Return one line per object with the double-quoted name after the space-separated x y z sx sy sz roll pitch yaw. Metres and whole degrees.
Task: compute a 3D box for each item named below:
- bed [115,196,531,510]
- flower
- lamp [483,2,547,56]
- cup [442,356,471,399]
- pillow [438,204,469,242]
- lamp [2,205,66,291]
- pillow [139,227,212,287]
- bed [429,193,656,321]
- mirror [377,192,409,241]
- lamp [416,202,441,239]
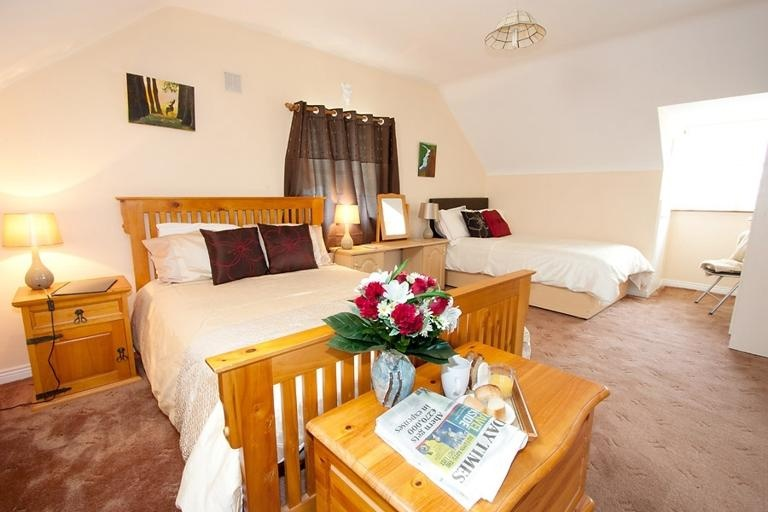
-0.704 -0.117 3.845 2.727 1.731 2.685 -10 12 -39 "bed"
0.065 0.279 2.861 0.623 0.482 0.624 0 11 -2 "flower"
1.166 -2.082 4.119 0.463 0.378 0.630 -3 9 18 "lamp"
0.396 0.724 2.804 0.161 0.229 0.255 2 15 5 "cup"
0.880 -0.411 6.249 0.443 0.445 0.107 -13 -11 -40 "pillow"
-2.843 -0.044 3.795 0.366 0.648 0.365 -11 11 -32 "lamp"
-1.805 0.026 4.050 0.494 0.419 0.265 -10 10 -24 "pillow"
1.933 0.037 5.810 1.852 0.998 1.602 6 14 42 "bed"
0.091 -0.474 5.667 0.044 0.588 0.573 1 5 42 "mirror"
0.580 -0.466 6.101 0.315 0.520 0.313 -9 24 -21 "lamp"
